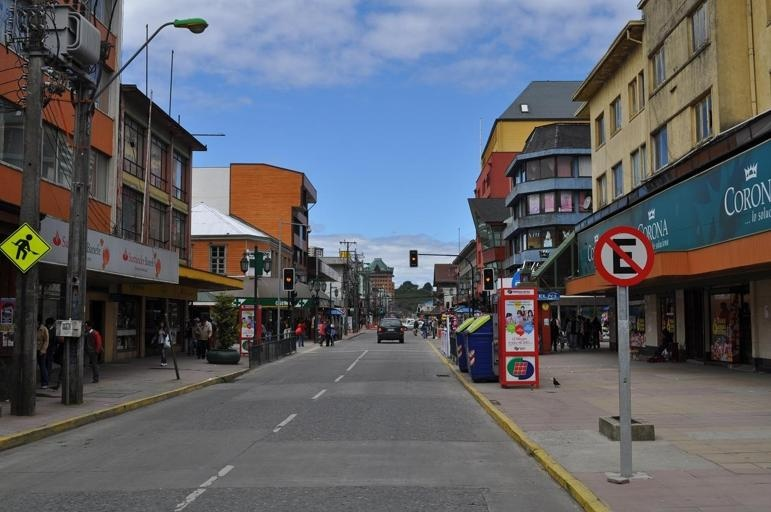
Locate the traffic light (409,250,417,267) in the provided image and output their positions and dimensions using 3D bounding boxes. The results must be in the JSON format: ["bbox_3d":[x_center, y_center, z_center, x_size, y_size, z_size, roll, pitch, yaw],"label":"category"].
[{"bbox_3d":[1.742,0.158,49.816,0.321,0.979,0.380,1,-9,-10],"label":"traffic light"}]

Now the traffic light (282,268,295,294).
[{"bbox_3d":[-5.092,1.200,43.425,0.462,1.231,1.132,-1,-9,-1],"label":"traffic light"}]

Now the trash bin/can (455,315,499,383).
[{"bbox_3d":[3.296,3.359,29.019,0.810,1.821,2.397,2,-7,2],"label":"trash bin/can"}]

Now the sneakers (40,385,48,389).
[{"bbox_3d":[-11.289,4.342,27.115,0.276,0.117,0.104,5,-8,-21],"label":"sneakers"}]

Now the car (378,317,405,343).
[{"bbox_3d":[0.453,5.916,64.702,1.958,1.762,4.418,0,0,1],"label":"car"}]

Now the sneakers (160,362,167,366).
[{"bbox_3d":[-9.526,4.677,35.415,0.122,0.161,0.382,0,-1,5],"label":"sneakers"}]

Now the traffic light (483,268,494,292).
[{"bbox_3d":[5.302,1.209,42.261,0.532,1.033,1.671,-3,-10,12],"label":"traffic light"}]

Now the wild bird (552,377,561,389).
[{"bbox_3d":[5.620,4.153,26.763,0.269,0.348,1.148,-3,-11,11],"label":"wild bird"}]
